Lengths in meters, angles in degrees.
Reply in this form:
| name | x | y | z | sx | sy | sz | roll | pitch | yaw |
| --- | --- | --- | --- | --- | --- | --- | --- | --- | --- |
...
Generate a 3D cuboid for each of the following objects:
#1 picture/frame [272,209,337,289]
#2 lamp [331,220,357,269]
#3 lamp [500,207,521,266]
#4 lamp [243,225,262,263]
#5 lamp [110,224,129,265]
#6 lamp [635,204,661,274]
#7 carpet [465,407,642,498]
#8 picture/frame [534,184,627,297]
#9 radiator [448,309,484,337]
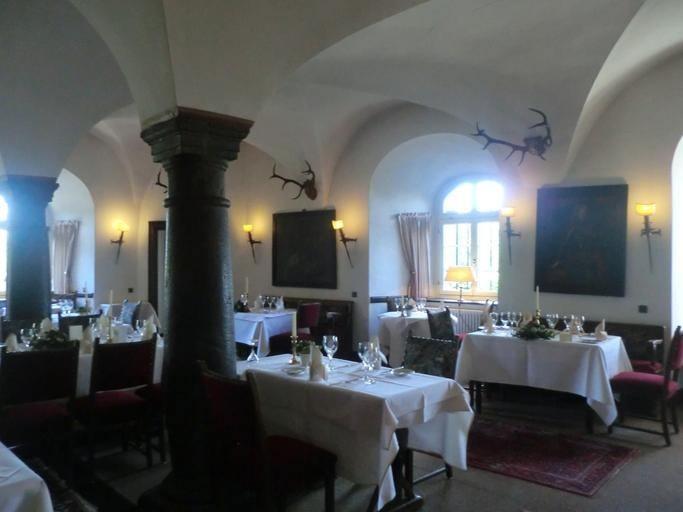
| name | x | y | z | sx | sy | sz | roll | pitch | yaw |
| --- | --- | --- | --- | --- | --- | --- | --- | --- | --- |
| picture/frame | -0.754 | -0.091 | 10.491 | 1.337 | 1.495 | 0.055 | 1 | 11 | 1 |
| lamp | 0.012 | -0.234 | 9.852 | 0.183 | 0.822 | 0.563 | -5 | 8 | -44 |
| lamp | 2.550 | -0.295 | 8.088 | 0.297 | 0.846 | 0.143 | 1 | 6 | 7 |
| lamp | -1.913 | -0.259 | 11.401 | 0.480 | 0.777 | 0.237 | 1 | 6 | 7 |
| lamp | -4.762 | -0.246 | 11.363 | 0.343 | 0.803 | 0.166 | 2 | 3 | -11 |
| lamp | 4.080 | -0.247 | 7.108 | 0.306 | 0.872 | 0.190 | 4 | 7 | 33 |
| carpet | 2.052 | 2.016 | 5.454 | 1.590 | 0.069 | 1.342 | 4 | 7 | 27 |
| picture/frame | 3.420 | -0.225 | 7.523 | 1.420 | 2.128 | 0.087 | 0 | 0 | 29 |
| radiator | 2.026 | 1.095 | 8.676 | 0.470 | 0.443 | 0.037 | 3 | 3 | 38 |
